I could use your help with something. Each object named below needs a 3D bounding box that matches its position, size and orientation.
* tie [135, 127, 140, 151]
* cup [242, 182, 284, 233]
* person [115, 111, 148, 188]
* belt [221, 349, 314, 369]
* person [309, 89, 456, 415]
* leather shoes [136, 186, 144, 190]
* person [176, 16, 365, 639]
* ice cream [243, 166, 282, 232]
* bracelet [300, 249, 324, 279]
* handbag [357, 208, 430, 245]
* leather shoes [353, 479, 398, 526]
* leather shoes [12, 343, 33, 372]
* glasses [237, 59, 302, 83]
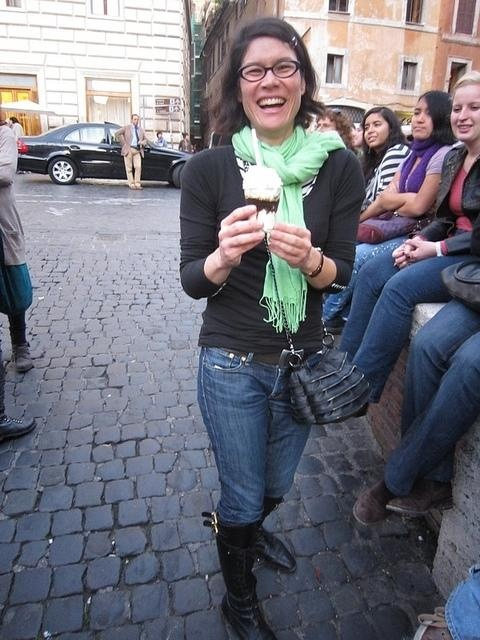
[{"bbox_3d":[-3.076,-5.414,13.362,0.149,0.607,0.157,-6,22,-15],"label":"tie"},{"bbox_3d":[0.053,-0.318,1.281,0.126,0.186,0.127,-1,21,1],"label":"cup"},{"bbox_3d":[-3.242,-5.067,13.538,0.682,2.068,0.990,-2,5,-28],"label":"person"},{"bbox_3d":[0.086,0.114,1.413,0.137,0.034,0.102,1,10,-2],"label":"belt"},{"bbox_3d":[0.837,-0.614,3.672,1.105,2.415,1.174,29,29,35],"label":"person"},{"bbox_3d":[-3.168,-4.187,14.069,0.110,0.120,0.299,2,29,-33],"label":"leather shoes"},{"bbox_3d":[0.131,0.037,1.513,0.600,1.730,0.715,-1,5,-10],"label":"person"},{"bbox_3d":[0.051,-0.342,1.295,0.164,0.187,0.151,4,17,2],"label":"ice cream"},{"bbox_3d":[0.203,-0.156,1.256,0.062,0.089,0.042,-1,-15,9],"label":"bracelet"},{"bbox_3d":[1.114,-0.691,3.364,0.451,0.167,0.321,-17,24,-20],"label":"handbag"},{"bbox_3d":[0.606,0.827,2.044,0.108,0.191,0.275,48,-1,24],"label":"leather shoes"},{"bbox_3d":[-1.765,0.305,3.636,0.104,0.132,0.304,-11,20,-31],"label":"leather shoes"},{"bbox_3d":[0.089,-0.732,1.322,0.167,0.058,0.044,3,21,7],"label":"glasses"}]
